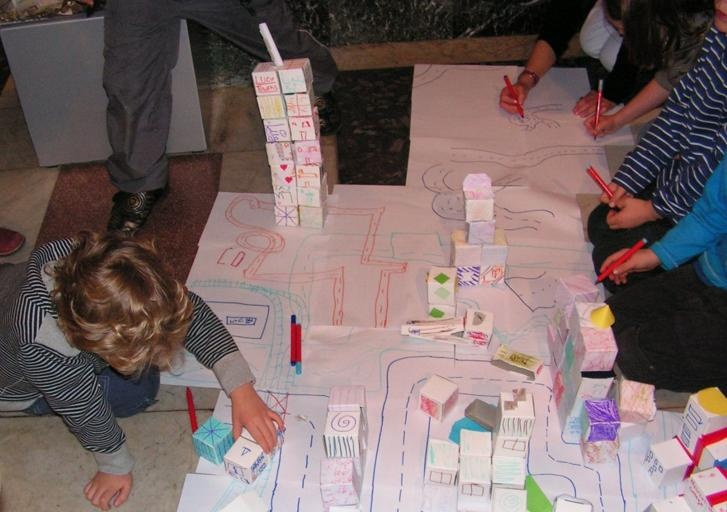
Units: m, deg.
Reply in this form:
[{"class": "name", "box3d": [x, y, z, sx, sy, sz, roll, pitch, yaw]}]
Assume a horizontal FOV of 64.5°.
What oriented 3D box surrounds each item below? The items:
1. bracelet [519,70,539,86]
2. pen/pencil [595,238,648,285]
[{"class": "bracelet", "box3d": [0.951, -1.010, 3.278, 0.077, 0.105, 0.046, 28, 94, -24]}, {"class": "pen/pencil", "box3d": [1.060, 0.026, 2.347, 0.025, 0.025, 0.231, 37, 103, -1]}]
